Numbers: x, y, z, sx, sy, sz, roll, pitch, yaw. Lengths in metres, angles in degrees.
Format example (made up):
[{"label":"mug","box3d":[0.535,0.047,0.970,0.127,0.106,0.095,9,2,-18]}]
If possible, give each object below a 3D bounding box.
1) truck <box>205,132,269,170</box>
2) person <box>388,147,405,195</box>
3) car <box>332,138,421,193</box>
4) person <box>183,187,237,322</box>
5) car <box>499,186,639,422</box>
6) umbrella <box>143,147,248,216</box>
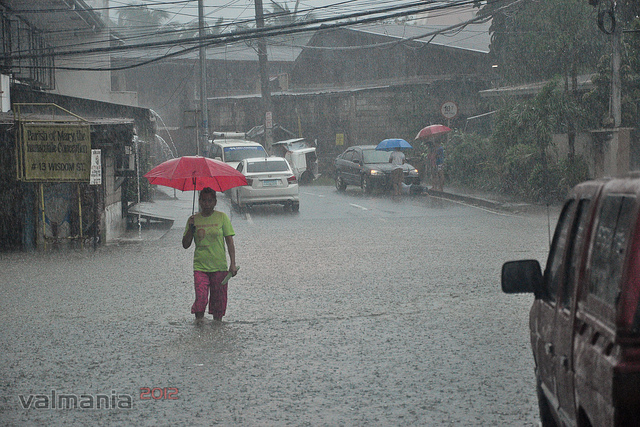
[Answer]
[{"label":"truck","box3d":[-3.426,-2.620,34.250,1.600,2.152,4.191,-2,4,-17]},{"label":"person","box3d":[2.893,-1.581,32.017,0.524,1.742,0.917,0,9,6]},{"label":"car","box3d":[2.058,-1.815,33.371,1.678,1.379,3.791,-3,2,-20]},{"label":"person","box3d":[-1.854,0.697,14.217,0.855,2.208,0.557,-2,8,-10]},{"label":"car","box3d":[3.076,1.169,9.786,0.579,3.022,1.765,-4,9,-22]},{"label":"umbrella","box3d":[-2.131,-0.638,15.043,1.214,0.913,1.250,1,0,-29]}]
